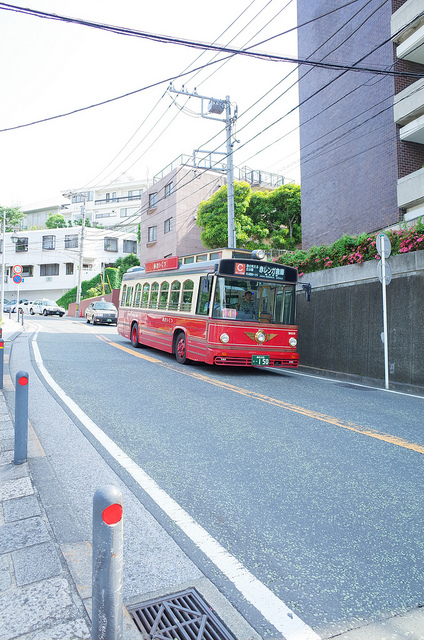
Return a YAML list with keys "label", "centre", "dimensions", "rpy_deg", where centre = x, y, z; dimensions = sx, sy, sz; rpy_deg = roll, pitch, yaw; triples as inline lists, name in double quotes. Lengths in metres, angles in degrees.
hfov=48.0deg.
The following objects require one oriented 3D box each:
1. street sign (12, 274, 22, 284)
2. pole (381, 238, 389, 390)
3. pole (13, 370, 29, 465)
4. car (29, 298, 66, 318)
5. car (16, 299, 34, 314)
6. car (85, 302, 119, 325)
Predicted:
- label: "street sign"
  centre: [-10.260, -2.114, 25.132]
  dimensions: [0.642, 0.695, 0.159]
  rpy_deg: [1, 0, 13]
- label: "pole"
  centre: [3.840, -0.142, 10.563]
  dimensions: [0.148, 3.287, 0.507]
  rpy_deg: [0, 1, 19]
- label: "pole"
  centre: [-1.769, 0.888, 4.387]
  dimensions: [0.123, 0.838, 0.267]
  rpy_deg: [-1, 1, -24]
- label: "car"
  centre: [-14.307, -0.984, 41.358]
  dimensions: [1.547, 1.564, 4.031]
  rpy_deg: [2, -2, -41]
- label: "car"
  centre: [-16.767, -1.097, 42.475]
  dimensions: [1.368, 1.132, 2.372]
  rpy_deg: [-2, 14, -18]
- label: "car"
  centre: [-7.229, -0.440, 31.103]
  dimensions: [1.410, 1.124, 3.166]
  rpy_deg: [0, -3, -23]
